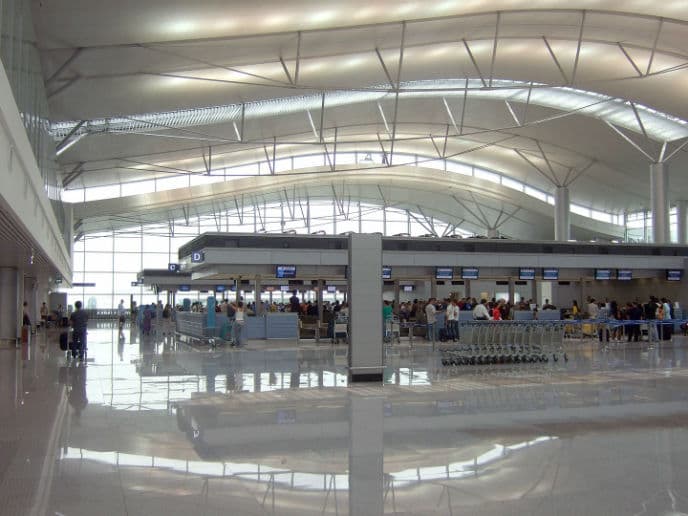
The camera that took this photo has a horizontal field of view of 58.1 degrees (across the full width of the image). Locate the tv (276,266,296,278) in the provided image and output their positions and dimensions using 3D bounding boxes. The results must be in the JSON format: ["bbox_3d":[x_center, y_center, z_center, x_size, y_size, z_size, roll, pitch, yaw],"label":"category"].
[{"bbox_3d":[-2.656,0.615,27.863,0.949,0.592,0.507,1,4,-10],"label":"tv"}]

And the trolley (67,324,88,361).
[{"bbox_3d":[-8.706,2.827,20.271,0.500,1.053,0.325,4,-5,-28],"label":"trolley"}]

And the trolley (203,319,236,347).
[{"bbox_3d":[-5.065,3.094,24.740,1.642,1.206,0.931,0,-3,0],"label":"trolley"}]

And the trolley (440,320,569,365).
[{"bbox_3d":[5.015,2.629,19.098,4.110,1.288,1.264,2,-7,-19],"label":"trolley"}]
